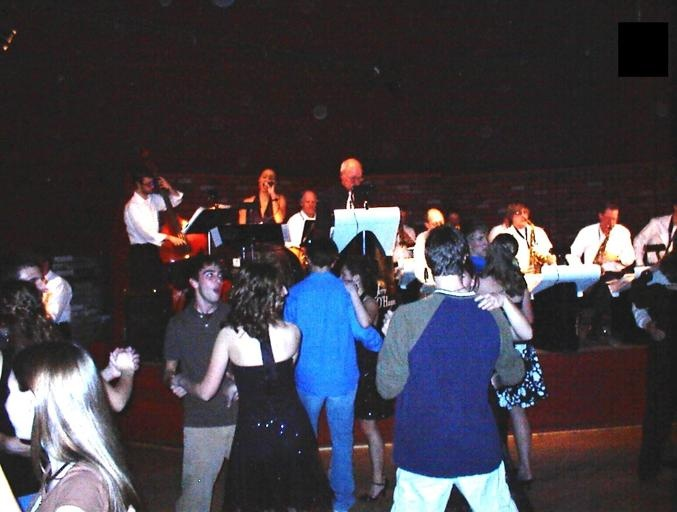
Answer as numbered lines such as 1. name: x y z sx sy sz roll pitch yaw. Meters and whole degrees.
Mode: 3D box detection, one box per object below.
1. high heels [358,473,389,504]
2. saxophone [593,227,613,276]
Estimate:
1. high heels: 0.280 1.785 4.984 0.226 0.181 0.186 -4 -1 1
2. saxophone: 2.772 -0.037 6.761 0.114 0.561 0.118 23 -35 2
